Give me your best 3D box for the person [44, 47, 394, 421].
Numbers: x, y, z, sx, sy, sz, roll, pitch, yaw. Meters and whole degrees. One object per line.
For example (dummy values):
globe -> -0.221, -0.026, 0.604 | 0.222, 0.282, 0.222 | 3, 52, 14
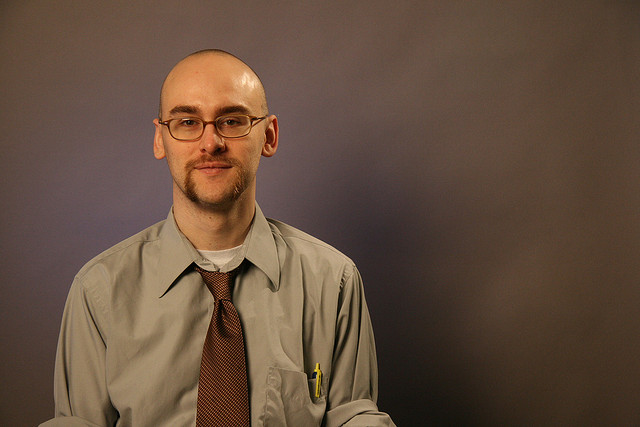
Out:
person -> -0.524, 0.084, 2.945 | 1.510, 1.625, 0.950 | 0, -7, -8
